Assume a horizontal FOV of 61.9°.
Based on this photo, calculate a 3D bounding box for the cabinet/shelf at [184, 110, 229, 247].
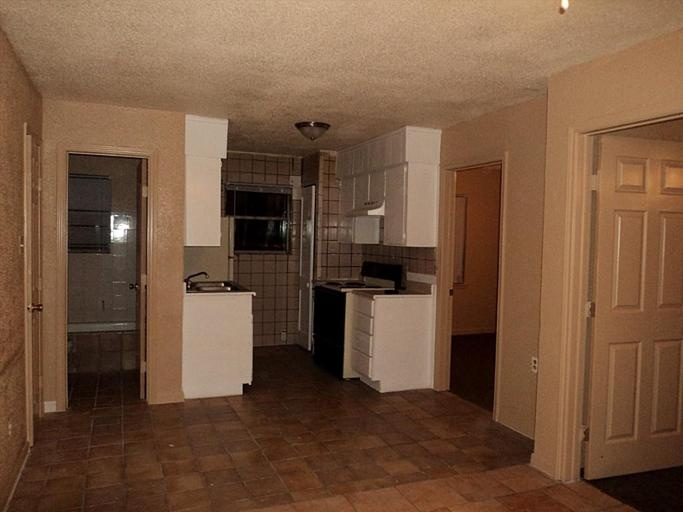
[{"bbox_3d":[-1.320,-0.735,5.519,0.407,1.225,0.175,0,8,-15],"label":"cabinet/shelf"}]

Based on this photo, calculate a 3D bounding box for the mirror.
[{"bbox_3d":[-3.231,-0.554,7.076,0.610,0.928,0.586,0,11,-33],"label":"mirror"}]

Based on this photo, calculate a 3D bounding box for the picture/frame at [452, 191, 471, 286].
[{"bbox_3d":[1.783,-0.377,8.534,0.061,1.312,0.290,8,-9,-33],"label":"picture/frame"}]

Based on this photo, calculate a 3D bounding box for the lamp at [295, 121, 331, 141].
[{"bbox_3d":[-0.297,-1.248,5.597,0.222,0.089,0.222,2,4,32],"label":"lamp"}]

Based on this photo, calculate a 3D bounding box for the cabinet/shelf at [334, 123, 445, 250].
[{"bbox_3d":[0.512,-0.691,6.653,0.618,1.265,1.682,0,2,-25],"label":"cabinet/shelf"}]

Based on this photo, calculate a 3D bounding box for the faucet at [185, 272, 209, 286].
[{"bbox_3d":[-1.703,0.238,6.680,0.207,0.176,0.468,-3,4,-37],"label":"faucet"}]
